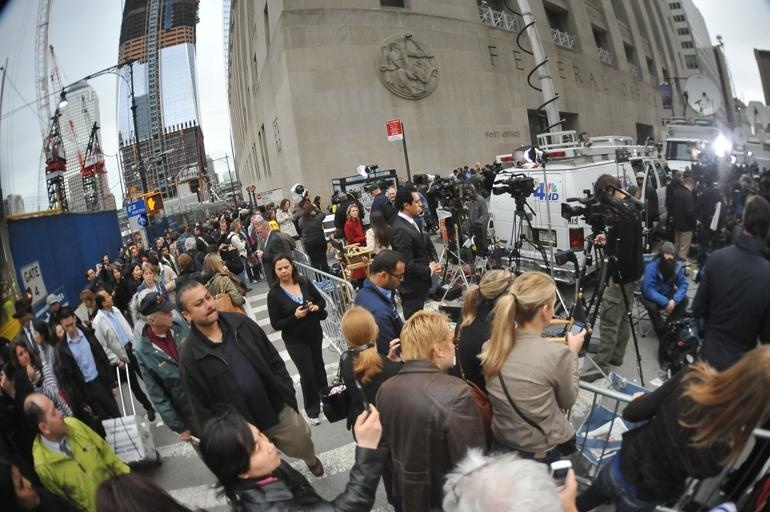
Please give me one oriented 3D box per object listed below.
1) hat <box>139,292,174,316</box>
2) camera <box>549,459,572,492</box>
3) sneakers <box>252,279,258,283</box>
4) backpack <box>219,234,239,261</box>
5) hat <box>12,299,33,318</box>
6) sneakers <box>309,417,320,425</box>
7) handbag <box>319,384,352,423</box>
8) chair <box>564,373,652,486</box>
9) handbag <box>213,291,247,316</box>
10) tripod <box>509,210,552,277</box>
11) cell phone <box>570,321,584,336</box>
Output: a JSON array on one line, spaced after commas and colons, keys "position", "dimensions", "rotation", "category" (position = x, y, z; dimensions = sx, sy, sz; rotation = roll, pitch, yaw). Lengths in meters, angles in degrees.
[{"position": [-2.685, 0.538, 5.610], "dimensions": [0.369, 0.186, 0.236], "rotation": [-18, 35, -27], "category": "hat"}, {"position": [1.233, 1.515, 3.408], "dimensions": [0.139, 0.211, 0.198], "rotation": [-8, 3, 12], "category": "camera"}, {"position": [-4.088, 0.815, 15.146], "dimensions": [0.096, 0.047, 0.133], "rotation": [3, 11, 8], "category": "sneakers"}, {"position": [-4.021, -0.257, 12.595], "dimensions": [0.570, 0.775, 0.291], "rotation": [2, -11, 20], "category": "backpack"}, {"position": [-2.660, 0.393, 3.547], "dimensions": [0.124, 0.070, 0.135], "rotation": [-7, 10, -23], "category": "hat"}, {"position": [-0.969, 2.271, 6.662], "dimensions": [0.097, 0.059, 0.117], "rotation": [0, -8, -7], "category": "sneakers"}, {"position": [-0.510, 1.538, 5.065], "dimensions": [0.288, 0.342, 0.099], "rotation": [-7, 4, 14], "category": "handbag"}, {"position": [2.261, 1.809, 5.238], "dimensions": [1.069, 1.369, 0.495], "rotation": [7, 4, -23], "category": "chair"}, {"position": [-2.047, 0.620, 6.308], "dimensions": [0.154, 0.335, 0.358], "rotation": [-30, -9, 10], "category": "handbag"}, {"position": [2.807, -0.248, 9.272], "dimensions": [1.123, 1.380, 0.926], "rotation": [-1, 28, 16], "category": "tripod"}, {"position": [1.890, 0.725, 4.778], "dimensions": [0.099, 0.094, 0.178], "rotation": [16, 29, 22], "category": "cell phone"}]
